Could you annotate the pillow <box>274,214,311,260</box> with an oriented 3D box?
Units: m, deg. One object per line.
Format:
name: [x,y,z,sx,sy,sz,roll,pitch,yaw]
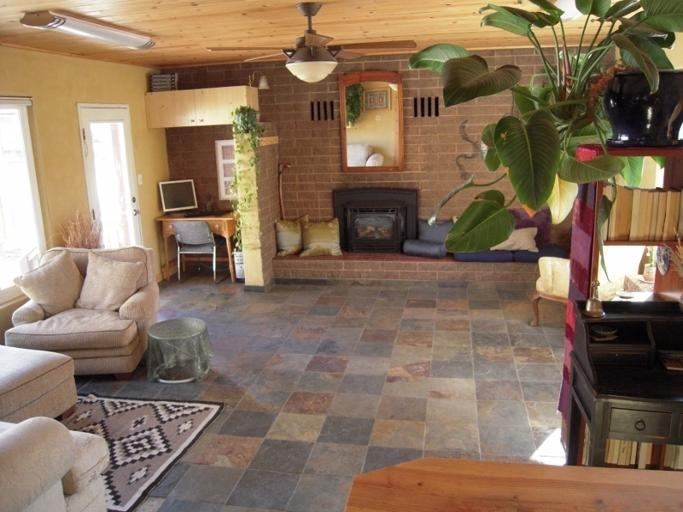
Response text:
pillow: [-0.757,-0.258,7.858,0.918,0.654,0.289,-2,9,-6]

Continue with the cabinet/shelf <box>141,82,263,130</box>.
cabinet/shelf: [-2.111,-2.200,7.625,1.675,0.571,0.296,-2,12,17]

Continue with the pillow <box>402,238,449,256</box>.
pillow: [1.220,-0.112,7.617,0.701,0.258,0.241,0,12,32]

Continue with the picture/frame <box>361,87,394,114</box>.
picture/frame: [0.550,-2.316,7.634,0.586,0.300,0.113,2,17,8]

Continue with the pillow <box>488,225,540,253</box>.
pillow: [1.900,-0.159,5.597,0.449,0.120,0.382,0,47,21]

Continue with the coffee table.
coffee table: [-1.596,0.898,4.924,0.646,0.392,0.641,19,28,39]

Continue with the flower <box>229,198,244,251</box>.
flower: [-1.565,-0.451,7.619,0.188,0.814,0.762,-11,11,-12]

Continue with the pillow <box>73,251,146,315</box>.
pillow: [-2.388,0.285,5.274,0.725,0.528,0.192,8,-16,15]

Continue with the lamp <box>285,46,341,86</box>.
lamp: [-0.266,-1.728,4.723,0.416,0.201,0.364,3,11,16]

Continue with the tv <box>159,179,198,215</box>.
tv: [-2.585,-0.918,8.086,0.657,0.457,0.060,-14,13,-25]

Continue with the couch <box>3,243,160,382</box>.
couch: [-2.482,0.544,5.452,1.790,1.166,1.400,0,13,-9]

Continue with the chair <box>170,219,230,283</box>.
chair: [-2.212,-0.086,7.987,0.895,1.192,0.885,1,31,-2]

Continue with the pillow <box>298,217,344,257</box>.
pillow: [-0.327,-0.260,7.686,0.699,0.517,0.299,0,-11,5]
